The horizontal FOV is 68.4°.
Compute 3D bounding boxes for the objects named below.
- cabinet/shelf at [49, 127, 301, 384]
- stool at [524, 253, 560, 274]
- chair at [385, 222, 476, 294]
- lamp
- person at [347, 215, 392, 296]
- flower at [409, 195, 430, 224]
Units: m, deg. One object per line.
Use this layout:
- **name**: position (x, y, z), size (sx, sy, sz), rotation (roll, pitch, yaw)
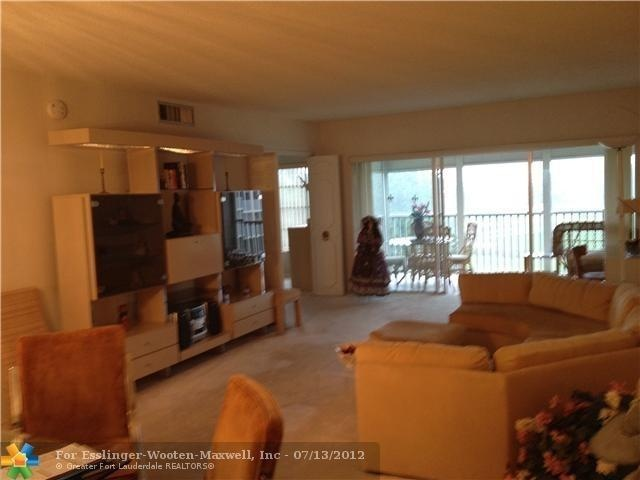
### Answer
- **cabinet/shelf**: position (-1.443, 0.106, 5.650), size (0.918, 2.508, 3.042), rotation (2, 7, 29)
- **stool**: position (3.731, 0.389, 7.876), size (0.564, 0.337, 0.391), rotation (1, 8, 21)
- **chair**: position (2.159, 0.360, 8.927), size (1.701, 1.222, 1.006), rotation (1, 4, 19)
- **lamp**: position (4.320, -0.475, 6.776), size (0.431, 1.860, 2.040), rotation (2, 9, 30)
- **person**: position (0.914, 0.122, 8.459), size (0.849, 1.344, 0.691), rotation (11, 29, 21)
- **flower**: position (1.913, -0.547, 8.995), size (0.453, 0.612, 0.477), rotation (4, -10, -5)
